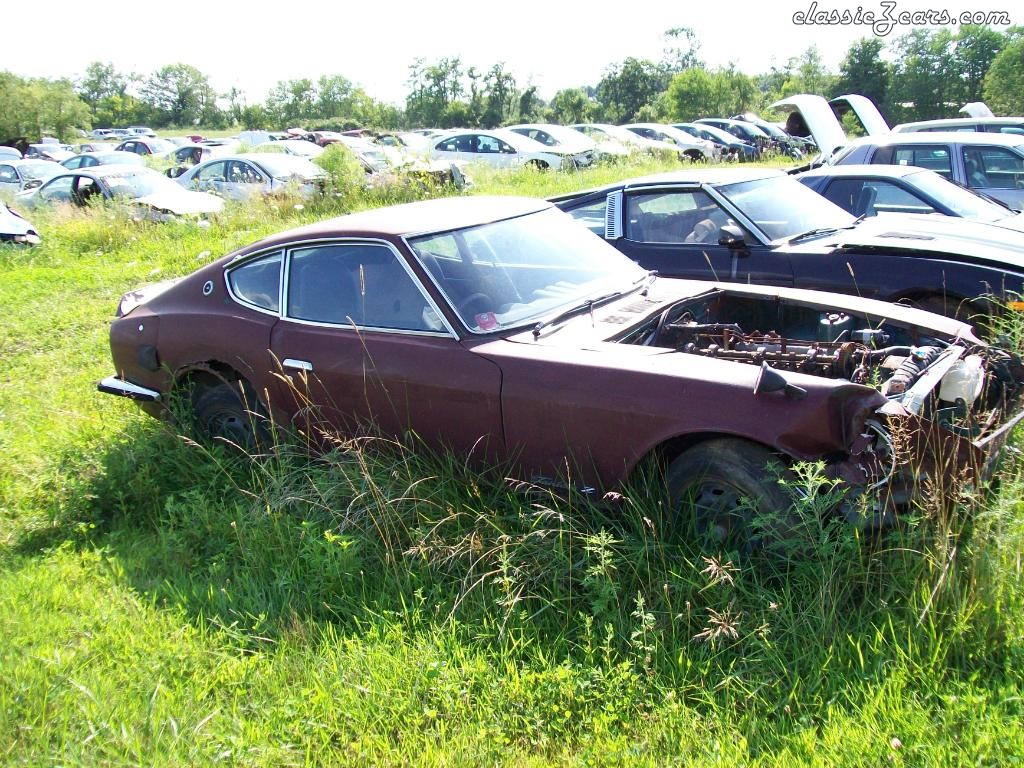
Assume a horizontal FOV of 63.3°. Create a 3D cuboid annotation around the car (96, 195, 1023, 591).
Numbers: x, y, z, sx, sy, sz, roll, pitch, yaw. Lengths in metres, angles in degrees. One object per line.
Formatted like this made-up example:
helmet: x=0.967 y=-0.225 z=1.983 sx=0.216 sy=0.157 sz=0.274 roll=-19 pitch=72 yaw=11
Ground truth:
car: x=0.250 y=-0.255 z=4.904 sx=4.265 sy=1.347 sz=2.323 roll=9 pitch=27 yaw=23
